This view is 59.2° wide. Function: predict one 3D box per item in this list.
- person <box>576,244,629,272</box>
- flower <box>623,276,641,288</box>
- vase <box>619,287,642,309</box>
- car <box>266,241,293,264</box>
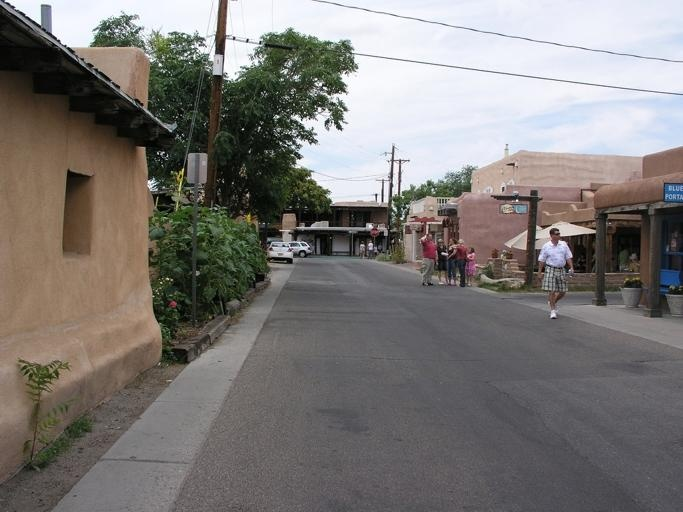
[{"bbox_3d":[11.123,0.085,25.349,1.181,0.913,0.639,2,4,45],"label":"person"},{"bbox_3d":[7.819,0.715,16.107,0.536,0.244,0.511,2,4,14],"label":"flower"},{"bbox_3d":[7.720,1.098,16.025,0.442,0.387,0.468,2,-8,5],"label":"vase"},{"bbox_3d":[-4.772,-0.271,46.635,1.707,1.479,2.713,0,4,-11],"label":"car"}]
